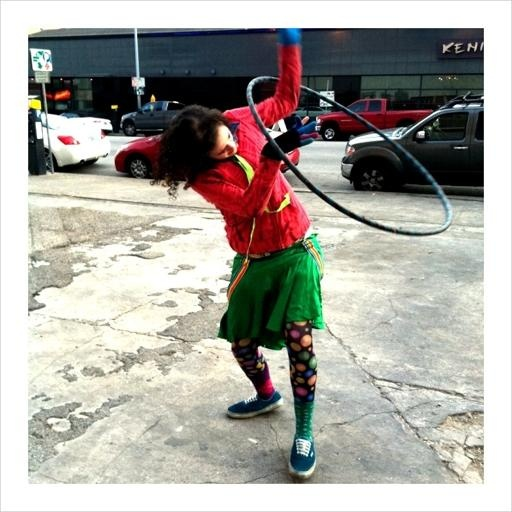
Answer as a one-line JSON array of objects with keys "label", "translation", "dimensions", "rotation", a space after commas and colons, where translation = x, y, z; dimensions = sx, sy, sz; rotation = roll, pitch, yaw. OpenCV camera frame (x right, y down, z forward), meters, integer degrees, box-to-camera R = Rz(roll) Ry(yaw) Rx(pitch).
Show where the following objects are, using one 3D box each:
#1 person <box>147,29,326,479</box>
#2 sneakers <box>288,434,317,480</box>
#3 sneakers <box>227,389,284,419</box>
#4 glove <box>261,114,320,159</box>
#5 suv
[{"label": "person", "translation": [-0.029, 0.180, 2.384], "dimensions": [0.721, 1.827, 0.619], "rotation": [-1, 16, 7]}, {"label": "sneakers", "translation": [0.236, 1.017, 2.376], "dimensions": [0.105, 0.081, 0.232], "rotation": [0, 9, 0]}, {"label": "sneakers", "translation": [-0.003, 0.905, 2.939], "dimensions": [0.414, 0.127, 0.123], "rotation": [-5, 8, -14]}, {"label": "glove", "translation": [0.169, -0.499, 2.034], "dimensions": [0.206, 0.167, 0.386], "rotation": [1, 13, 16]}, {"label": "suv", "translation": [3.549, -2.371, 10.129], "dimensions": [3.974, 1.718, 1.933], "rotation": [3, 22, 8]}]
